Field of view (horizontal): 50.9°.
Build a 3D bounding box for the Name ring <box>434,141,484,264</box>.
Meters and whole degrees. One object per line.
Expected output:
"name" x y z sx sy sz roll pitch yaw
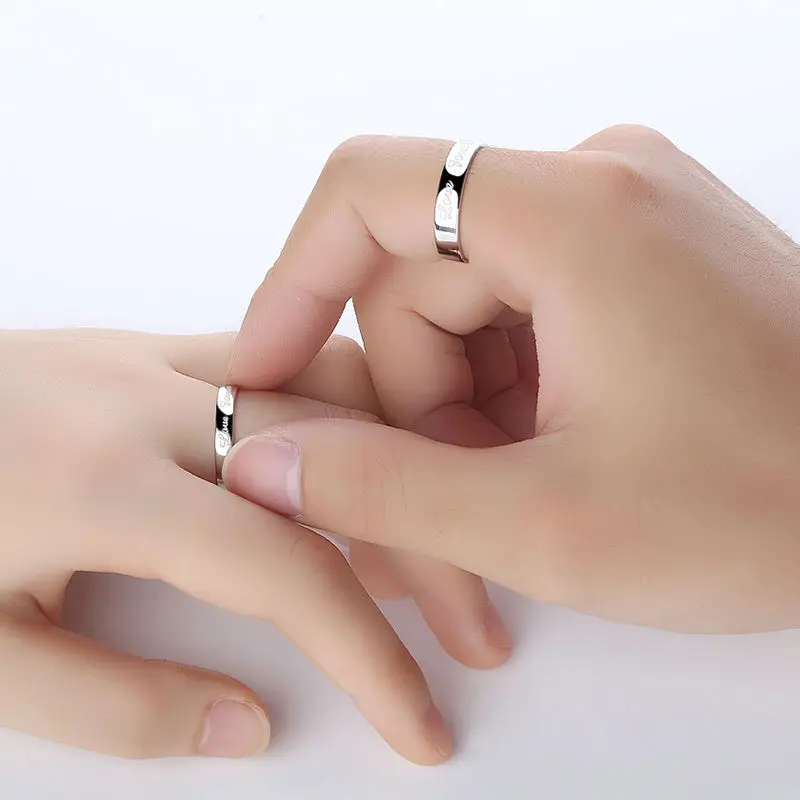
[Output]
"Name ring" 0.052 -0.180 0.767 0.037 0.100 0.071 5 28 4
